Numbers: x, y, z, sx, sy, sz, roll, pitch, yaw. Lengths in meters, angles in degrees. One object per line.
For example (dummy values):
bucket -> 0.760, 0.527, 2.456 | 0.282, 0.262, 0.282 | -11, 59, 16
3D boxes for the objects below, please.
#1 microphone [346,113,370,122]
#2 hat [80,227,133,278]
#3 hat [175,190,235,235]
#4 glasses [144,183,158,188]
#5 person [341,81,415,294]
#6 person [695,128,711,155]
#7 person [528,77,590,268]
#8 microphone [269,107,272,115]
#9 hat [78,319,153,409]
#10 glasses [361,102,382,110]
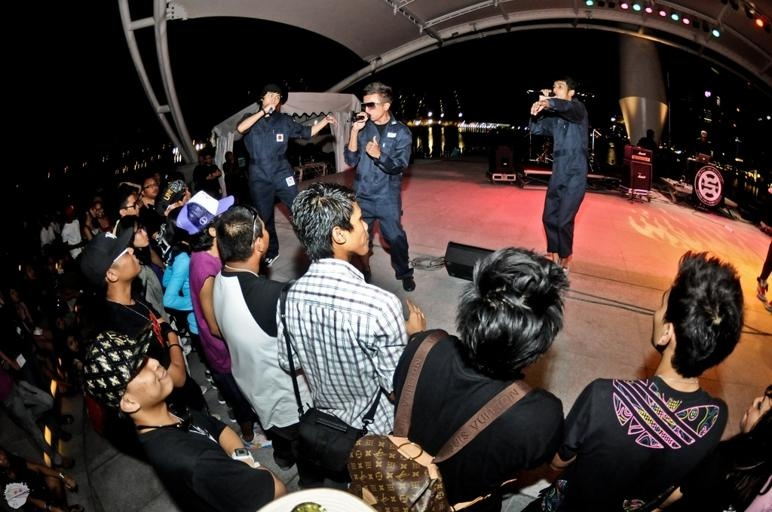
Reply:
microphone -> -0.328, -1.764, 5.703 | 0.170, 0.061, 0.121 | -3, 7, -18
hat -> -2.389, -0.035, 3.834 | 0.355, 0.494, 0.196 | 35, -3, 40
hat -> -1.738, -0.397, 4.203 | 0.420, 0.373, 0.618 | 2, 15, -2
glasses -> -3.217, -0.968, 6.128 | 0.096, 0.028, 0.096 | -13, 5, 26
person -> -0.048, -0.889, 5.995 | 1.038, 2.706, 0.534 | 5, 16, 12
person -> 7.369, -2.676, 10.447 | 0.269, 0.543, 0.763 | 9, 17, 22
person -> 2.329, -1.106, 6.269 | 0.822, 2.594, 0.926 | 8, 17, 20
microphone -> -1.552, -1.984, 6.137 | 0.021, 0.077, 0.055 | 29, -8, -40
hat -> -1.798, 0.762, 3.031 | 0.435, 0.571, 0.233 | -4, 17, -22
glasses -> -0.214, -1.929, 5.782 | 0.192, 0.103, 0.106 | 2, 15, -2
